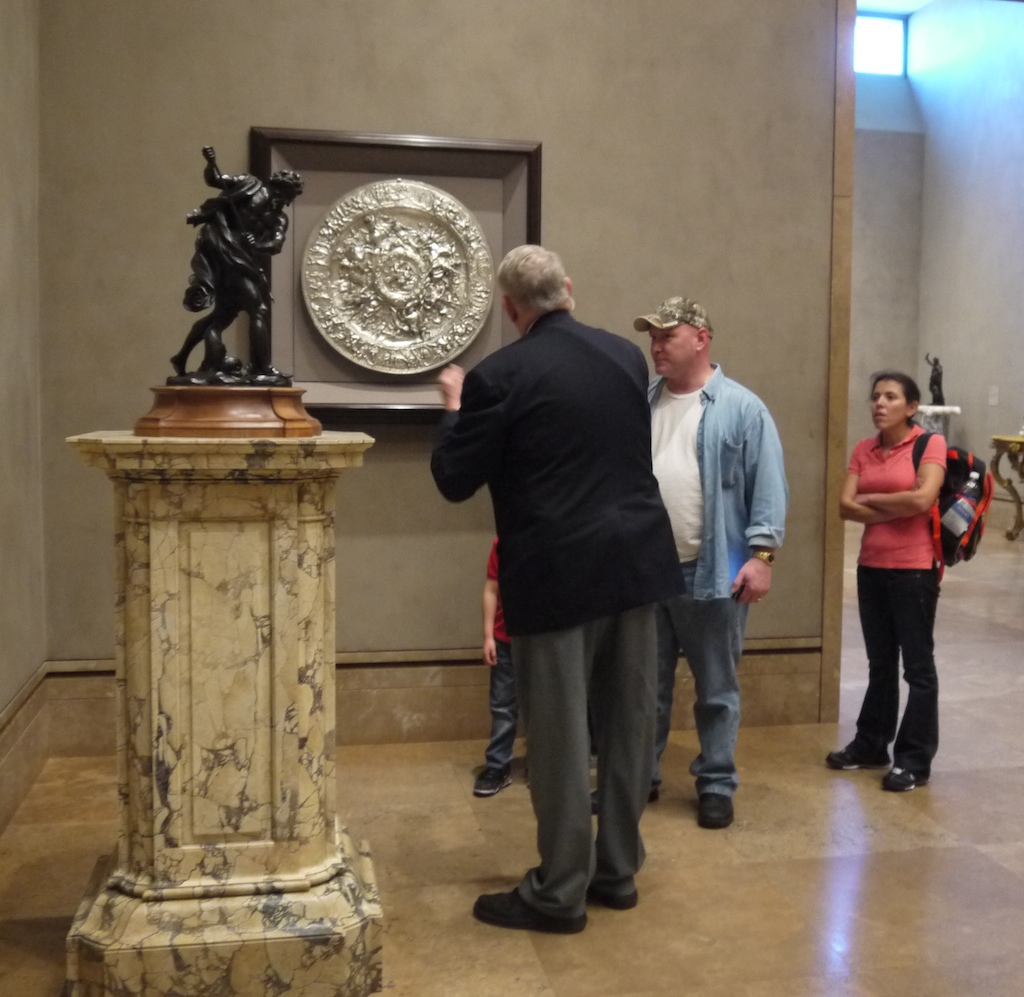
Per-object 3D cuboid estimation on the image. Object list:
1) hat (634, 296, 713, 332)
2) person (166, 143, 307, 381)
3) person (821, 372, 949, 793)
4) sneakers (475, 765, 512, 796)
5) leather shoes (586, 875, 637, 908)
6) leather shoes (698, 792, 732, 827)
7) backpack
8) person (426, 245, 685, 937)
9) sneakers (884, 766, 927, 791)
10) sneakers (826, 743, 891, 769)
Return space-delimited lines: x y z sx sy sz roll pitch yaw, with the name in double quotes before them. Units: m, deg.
"hat" 0.514 -0.563 3.897 0.209 0.114 0.141 5 -1 -24
"person" -0.709 -0.586 3.179 0.311 0.559 0.804 -2 8 -14
"person" 1.293 0.317 4.240 0.371 1.226 0.427 -4 9 -32
"sneakers" -0.060 0.935 4.124 0.052 0.069 0.151 -2 -2 22
"leather shoes" 0.265 1.023 3.288 0.140 0.067 0.058 -2 3 40
"leather shoes" 0.635 0.948 3.874 0.111 0.080 0.192 1 8 8
"backpack" 1.482 0.006 4.255 0.228 0.428 0.298 4 14 17
"person" 0.122 0.224 3.192 0.622 1.713 0.348 1 7 7
"sneakers" 1.294 0.919 4.104 0.058 0.068 0.164 -8 -10 43
"sneakers" 1.185 0.896 4.302 0.227 0.111 0.088 2 1 -5
